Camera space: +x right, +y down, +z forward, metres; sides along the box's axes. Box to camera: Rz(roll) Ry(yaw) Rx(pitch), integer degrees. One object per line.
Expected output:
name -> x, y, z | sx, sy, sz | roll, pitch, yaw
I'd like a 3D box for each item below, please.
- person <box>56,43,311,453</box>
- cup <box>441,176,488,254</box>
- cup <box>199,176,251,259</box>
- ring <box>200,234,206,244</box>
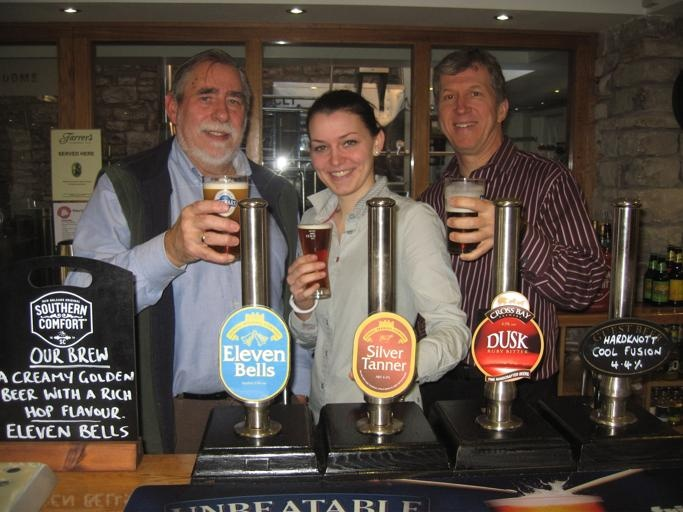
person -> -0.576, -0.029, 2.356 | 0.802, 1.547, 0.909 | 0, 7, 17
cup -> 0.419, -0.134, 2.125 | 0.128, 0.256, 0.285 | 0, 7, 10
cup -> -0.350, -0.112, 1.935 | 0.142, 0.271, 0.314 | -3, 7, -12
ring -> -0.418, -0.054, 1.888 | 0.012, 0.026, 0.023 | 1, -3, -18
